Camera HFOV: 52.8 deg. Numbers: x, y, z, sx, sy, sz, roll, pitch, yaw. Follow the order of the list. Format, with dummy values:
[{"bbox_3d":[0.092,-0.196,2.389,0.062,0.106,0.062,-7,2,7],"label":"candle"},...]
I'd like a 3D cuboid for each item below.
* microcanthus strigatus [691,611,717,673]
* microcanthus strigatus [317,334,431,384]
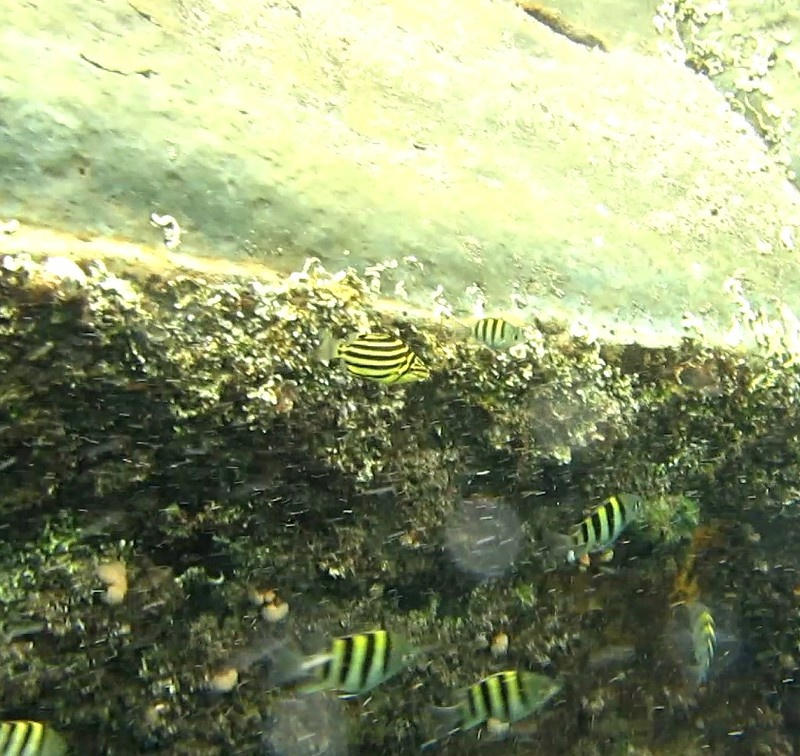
[{"bbox_3d":[1.818,1.595,4.839,0.141,0.445,0.137,6,14,26],"label":"microcanthus strigatus"},{"bbox_3d":[-0.142,-0.075,3.417,0.428,0.222,0.128,13,-2,1],"label":"microcanthus strigatus"}]
